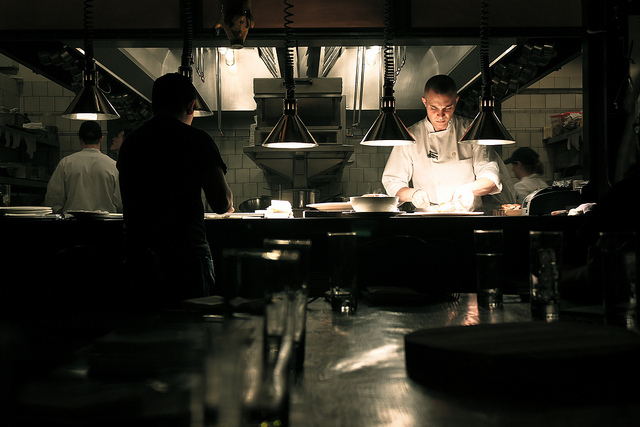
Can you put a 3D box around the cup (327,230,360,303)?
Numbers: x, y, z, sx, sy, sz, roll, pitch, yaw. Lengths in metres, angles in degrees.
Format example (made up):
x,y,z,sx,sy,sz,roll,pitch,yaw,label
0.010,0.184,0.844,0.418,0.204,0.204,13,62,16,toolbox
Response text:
x,y,z,sx,sy,sz,roll,pitch,yaw,label
0.074,0.175,1.892,0.090,0.255,0.180,0,13,3,cup

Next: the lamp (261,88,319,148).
x,y,z,sx,sy,sz,roll,pitch,yaw,label
-0.146,-0.455,3.111,0.297,0.282,0.288,0,-1,-1,lamp

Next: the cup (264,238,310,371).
x,y,z,sx,sy,sz,roll,pitch,yaw,label
-0.071,0.207,1.367,0.101,0.279,0.194,-1,13,-3,cup

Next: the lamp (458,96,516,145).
x,y,z,sx,sy,sz,roll,pitch,yaw,label
0.802,-0.439,3.019,0.239,0.232,0.243,0,-2,10,lamp

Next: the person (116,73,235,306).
x,y,z,sx,sy,sz,roll,pitch,yaw,label
-0.578,-0.011,2.570,0.462,0.758,0.354,-4,13,-17,person

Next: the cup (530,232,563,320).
x,y,z,sx,sy,sz,roll,pitch,yaw,label
0.618,0.162,1.709,0.093,0.231,0.124,4,13,17,cup

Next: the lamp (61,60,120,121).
x,y,z,sx,sy,sz,roll,pitch,yaw,label
-1.189,-0.625,3.199,0.258,0.304,0.330,-3,13,-13,lamp

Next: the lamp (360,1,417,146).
x,y,z,sx,sy,sz,roll,pitch,yaw,label
0.336,-0.655,3.043,0.265,0.703,0.524,1,13,8,lamp

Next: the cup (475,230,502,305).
x,y,z,sx,sy,sz,roll,pitch,yaw,label
0.519,0.164,1.880,0.094,0.223,0.091,1,-10,0,cup

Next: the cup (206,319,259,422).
x,y,z,sx,sy,sz,roll,pitch,yaw,label
-0.177,0.314,1.295,0.107,0.151,0.188,-2,13,-10,cup

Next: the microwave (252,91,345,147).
x,y,z,sx,sy,sz,roll,pitch,yaw,label
-0.165,-0.761,4.994,0.710,0.419,0.735,0,13,0,microwave

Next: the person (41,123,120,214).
x,y,z,sx,sy,sz,roll,pitch,yaw,label
-1.729,-0.142,4.687,0.616,1.060,0.345,-1,25,-19,person
